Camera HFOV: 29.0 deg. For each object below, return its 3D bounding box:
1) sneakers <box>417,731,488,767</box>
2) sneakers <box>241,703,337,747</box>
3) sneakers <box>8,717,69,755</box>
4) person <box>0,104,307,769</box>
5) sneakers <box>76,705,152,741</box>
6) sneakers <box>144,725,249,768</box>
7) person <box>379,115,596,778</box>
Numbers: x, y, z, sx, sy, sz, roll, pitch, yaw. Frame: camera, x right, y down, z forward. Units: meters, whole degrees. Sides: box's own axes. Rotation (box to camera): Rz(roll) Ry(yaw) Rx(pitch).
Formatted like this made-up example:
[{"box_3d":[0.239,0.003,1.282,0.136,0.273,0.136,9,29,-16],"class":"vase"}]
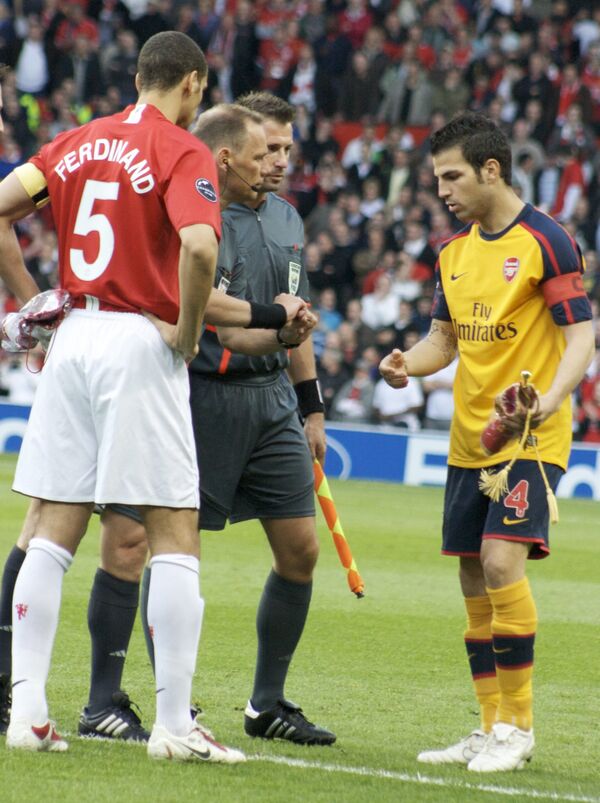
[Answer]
[{"box_3d":[0.462,1.027,3.409,0.245,0.082,0.076,3,-4,-17],"class":"sneakers"},{"box_3d":[-0.035,1.006,3.623,0.317,0.115,0.103,5,-8,9],"class":"sneakers"},{"box_3d":[-0.670,0.864,2.990,0.136,0.061,0.086,1,5,-37],"class":"sneakers"},{"box_3d":[-0.327,0.014,3.264,0.641,1.726,0.741,8,0,5],"class":"person"},{"box_3d":[-0.536,0.935,3.351,0.261,0.100,0.081,1,-3,9],"class":"sneakers"},{"box_3d":[-0.274,0.890,2.970,0.297,0.098,0.090,7,-9,-19],"class":"sneakers"},{"box_3d":[0.604,0.075,3.636,0.501,2.068,0.803,8,0,-26],"class":"person"}]
